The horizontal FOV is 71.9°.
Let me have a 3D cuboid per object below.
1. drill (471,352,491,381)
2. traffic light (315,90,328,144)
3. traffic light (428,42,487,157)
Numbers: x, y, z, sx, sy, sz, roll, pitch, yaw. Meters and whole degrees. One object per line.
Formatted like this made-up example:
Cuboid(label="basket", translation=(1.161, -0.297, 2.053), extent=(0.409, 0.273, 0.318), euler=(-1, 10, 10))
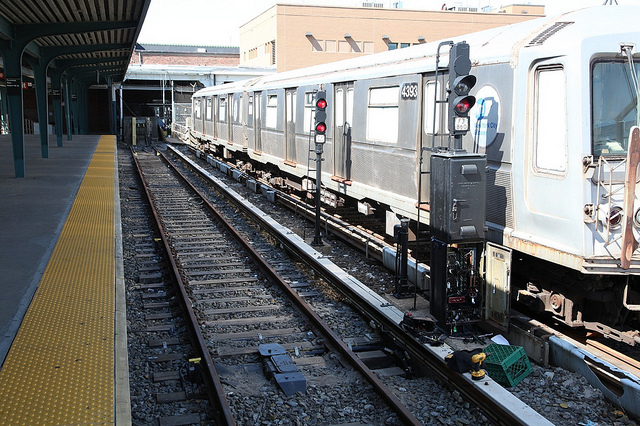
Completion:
Cuboid(label="drill", translation=(2.029, 1.870, 5.417), extent=(0.320, 0.284, 0.167), euler=(-2, 1, -42))
Cuboid(label="traffic light", translation=(0.020, -2.211, 10.240), extent=(0.264, 1.184, 0.642), euler=(-1, 13, -1))
Cuboid(label="traffic light", translation=(2.128, -1.731, 6.830), extent=(0.744, 1.709, 0.758), euler=(0, 0, 25))
